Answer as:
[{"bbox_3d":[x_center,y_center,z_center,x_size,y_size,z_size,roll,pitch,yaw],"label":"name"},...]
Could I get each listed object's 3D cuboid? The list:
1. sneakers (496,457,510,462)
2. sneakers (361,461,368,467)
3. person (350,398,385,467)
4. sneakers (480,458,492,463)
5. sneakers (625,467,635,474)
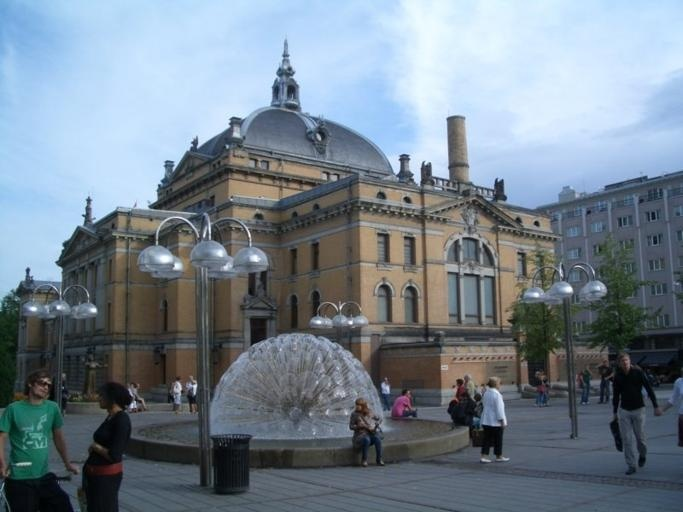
[{"bbox_3d":[3.868,4.935,17.906,0.280,0.113,0.138,-1,-2,-10],"label":"sneakers"},{"bbox_3d":[0.537,4.980,17.693,0.151,0.128,0.140,-2,-11,-4],"label":"sneakers"},{"bbox_3d":[0.572,4.279,17.902,0.762,1.600,0.408,-3,-10,1],"label":"person"},{"bbox_3d":[3.483,4.922,17.802,0.331,0.133,0.120,3,-9,-21],"label":"sneakers"},{"bbox_3d":[6.250,4.663,16.080,0.217,0.150,0.424,-8,-12,24],"label":"sneakers"}]
